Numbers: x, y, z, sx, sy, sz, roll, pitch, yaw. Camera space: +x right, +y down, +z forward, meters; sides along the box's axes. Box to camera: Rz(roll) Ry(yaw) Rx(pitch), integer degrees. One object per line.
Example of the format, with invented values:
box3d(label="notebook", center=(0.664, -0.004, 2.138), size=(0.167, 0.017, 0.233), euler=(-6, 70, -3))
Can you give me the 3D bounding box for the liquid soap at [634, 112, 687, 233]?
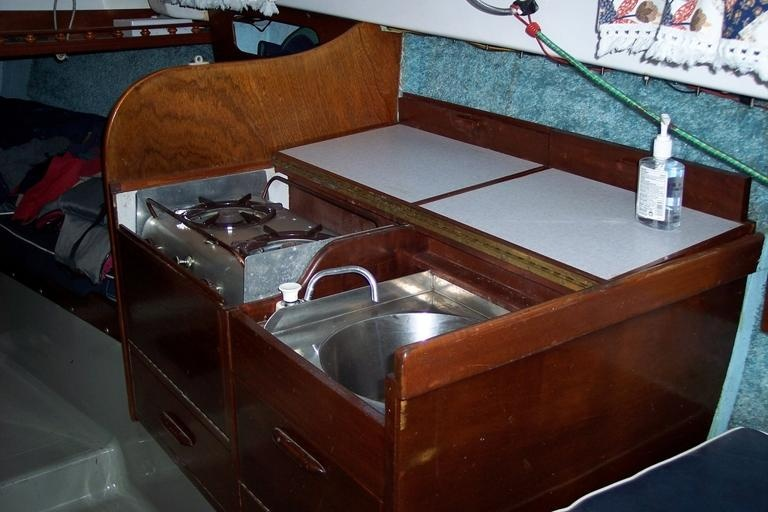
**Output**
box3d(label="liquid soap", center=(0.804, -0.214, 1.572), size=(0.191, 0.330, 0.118), euler=(-14, 24, -39))
